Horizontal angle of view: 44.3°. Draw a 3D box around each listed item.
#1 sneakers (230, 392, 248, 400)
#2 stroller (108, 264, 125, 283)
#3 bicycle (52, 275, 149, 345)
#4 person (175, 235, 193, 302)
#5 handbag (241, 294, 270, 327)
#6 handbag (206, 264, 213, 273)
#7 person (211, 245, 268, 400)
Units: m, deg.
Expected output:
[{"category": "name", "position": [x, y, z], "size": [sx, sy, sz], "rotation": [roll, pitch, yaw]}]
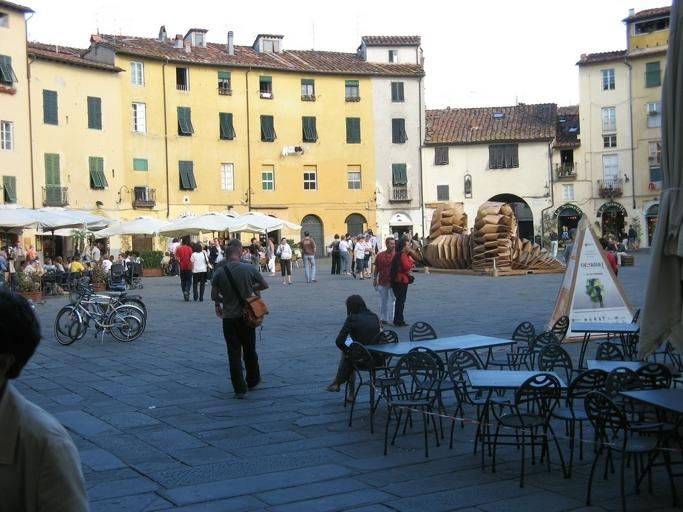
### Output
[{"category": "sneakers", "position": [-1.267, 1.718, 10.512], "size": [0.170, 0.084, 0.260], "rotation": [-2, 4, -9]}, {"category": "stroller", "position": [-6.568, 0.487, 24.488], "size": [0.417, 0.598, 0.596], "rotation": [1, 4, -3]}, {"category": "bicycle", "position": [-4.300, 1.060, 15.073], "size": [1.724, 1.230, 0.892], "rotation": [1, -3, -12]}, {"category": "person", "position": [-4.064, 0.293, 21.878], "size": [0.397, 1.674, 1.252], "rotation": [-2, 4, -11]}, {"category": "handbag", "position": [-1.079, 0.688, 10.692], "size": [0.239, 0.390, 0.314], "rotation": [2, 5, 42]}, {"category": "handbag", "position": [-4.037, 0.338, 25.637], "size": [0.244, 0.249, 0.433], "rotation": [8, -6, -10]}, {"category": "person", "position": [-1.314, 0.762, 10.811], "size": [0.702, 1.923, 0.888], "rotation": [-2, 4, -9]}]
